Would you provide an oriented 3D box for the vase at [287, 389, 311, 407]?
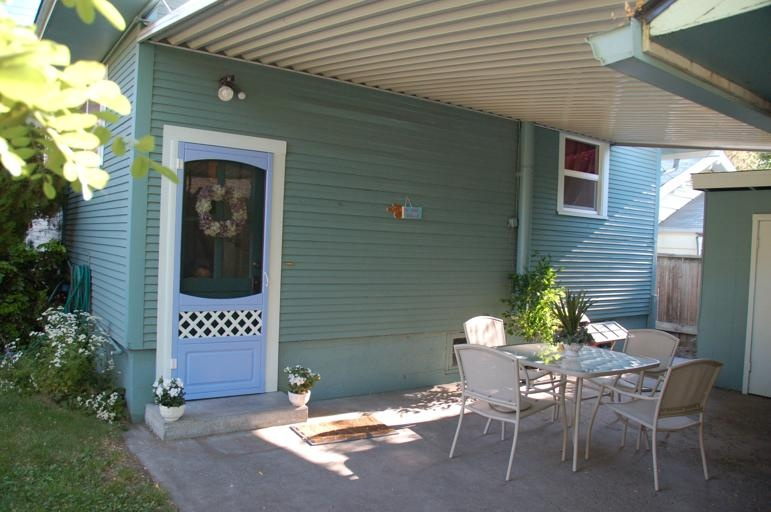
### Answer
[{"bbox_3d":[-1.019,1.699,6.060,0.233,0.141,0.226,-1,-3,27],"label":"vase"}]

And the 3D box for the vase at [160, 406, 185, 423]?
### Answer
[{"bbox_3d":[-2.264,1.656,5.432,0.213,0.109,0.197,2,1,7],"label":"vase"}]

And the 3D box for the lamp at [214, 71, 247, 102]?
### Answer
[{"bbox_3d":[-1.822,-1.975,5.925,0.276,0.326,0.141,-17,26,-26],"label":"lamp"}]

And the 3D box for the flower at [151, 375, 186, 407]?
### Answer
[{"bbox_3d":[-2.331,1.455,5.563,0.398,0.267,0.334,2,-13,4],"label":"flower"}]

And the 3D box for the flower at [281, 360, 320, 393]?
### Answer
[{"bbox_3d":[-1.056,1.452,6.194,0.438,0.253,0.417,8,-8,-38],"label":"flower"}]

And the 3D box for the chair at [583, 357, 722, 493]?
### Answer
[{"bbox_3d":[2.943,1.594,5.369,0.955,1.288,1.328,9,9,33],"label":"chair"}]
